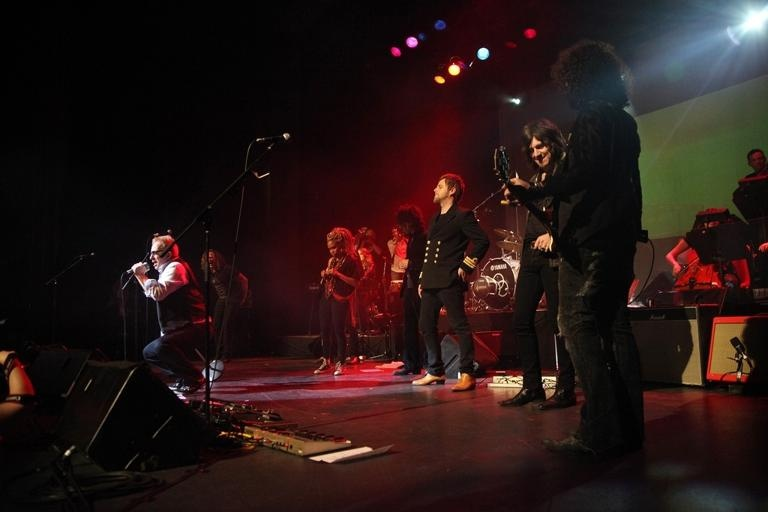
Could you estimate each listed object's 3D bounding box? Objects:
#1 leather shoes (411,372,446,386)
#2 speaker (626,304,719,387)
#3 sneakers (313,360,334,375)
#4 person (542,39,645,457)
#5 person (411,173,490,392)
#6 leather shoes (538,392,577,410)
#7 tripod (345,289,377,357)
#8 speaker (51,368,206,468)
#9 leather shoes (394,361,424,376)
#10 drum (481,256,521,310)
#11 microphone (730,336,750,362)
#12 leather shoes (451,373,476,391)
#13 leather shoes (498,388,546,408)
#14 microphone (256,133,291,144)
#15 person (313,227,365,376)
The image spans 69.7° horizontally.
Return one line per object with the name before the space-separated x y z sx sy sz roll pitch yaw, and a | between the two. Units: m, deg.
leather shoes | 0.498 1.392 6.261 0.394 0.157 0.142 4 -10 -5
speaker | 2.789 0.962 5.770 0.883 0.793 0.493 5 -14 -19
sneakers | -0.840 1.581 7.779 0.143 0.178 0.437 -16 -18 26
person | 1.469 -0.120 3.828 0.681 2.830 0.744 1 7 19
person | 0.702 0.295 6.010 0.681 2.391 0.928 -4 7 -27
leather shoes | 1.517 1.256 4.759 0.375 0.218 0.121 3 -12 -11
tripod | -0.490 0.972 9.756 0.568 0.605 0.539 -14 -6 -5
speaker | -1.799 1.077 3.904 0.800 0.727 0.708 -3 -10 40
leather shoes | 0.342 1.481 7.195 0.435 0.180 0.143 5 -10 -11
drum | 1.811 0.429 8.530 0.406 0.690 0.702 6 -26 -31
microphone | 3.345 0.872 5.150 0.137 0.224 0.166 -1 6 5
leather shoes | 0.795 1.321 5.725 0.116 0.133 0.348 -23 -28 37
leather shoes | 1.188 1.253 4.931 0.518 0.218 0.153 0 -7 -10
microphone | -0.995 -1.049 4.914 0.279 0.109 0.354 -1 5 -4
person | -0.669 0.626 7.639 0.632 1.987 0.824 -1 6 -3
